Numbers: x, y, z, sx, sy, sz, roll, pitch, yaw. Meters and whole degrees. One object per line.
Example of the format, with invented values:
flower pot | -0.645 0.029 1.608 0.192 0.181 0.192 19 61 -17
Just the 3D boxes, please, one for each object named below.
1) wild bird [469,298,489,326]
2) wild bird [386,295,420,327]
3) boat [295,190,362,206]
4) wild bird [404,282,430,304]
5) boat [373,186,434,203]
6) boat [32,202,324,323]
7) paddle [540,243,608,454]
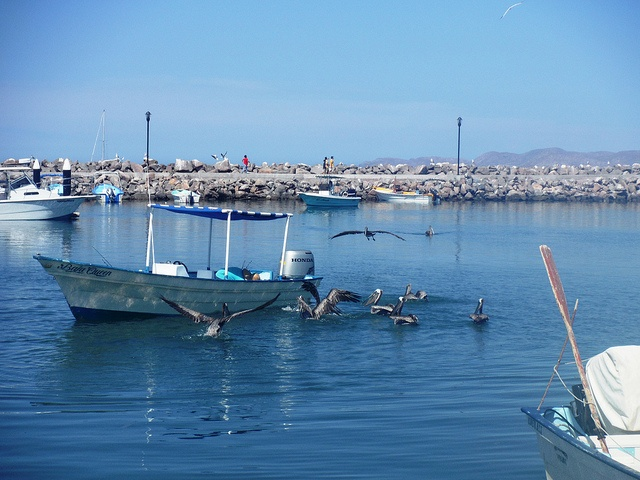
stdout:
wild bird | 5.955 2.589 45.217 0.744 0.862 0.979 5 10 23
wild bird | 3.052 2.541 44.801 0.972 0.850 1.117 -1 4 1
boat | 0.856 -3.652 110.143 5.562 1.258 1.859 6 -7 -20
wild bird | 3.725 2.039 48.120 1.350 1.016 0.424 -5 9 2
boat | 8.430 -4.837 124.252 6.327 1.224 2.025 4 -5 11
boat | -5.106 0.676 44.250 9.509 4.043 2.198 -3 5 -33
paddle | 7.088 2.712 34.654 0.995 7.468 0.209 -12 -14 -2
